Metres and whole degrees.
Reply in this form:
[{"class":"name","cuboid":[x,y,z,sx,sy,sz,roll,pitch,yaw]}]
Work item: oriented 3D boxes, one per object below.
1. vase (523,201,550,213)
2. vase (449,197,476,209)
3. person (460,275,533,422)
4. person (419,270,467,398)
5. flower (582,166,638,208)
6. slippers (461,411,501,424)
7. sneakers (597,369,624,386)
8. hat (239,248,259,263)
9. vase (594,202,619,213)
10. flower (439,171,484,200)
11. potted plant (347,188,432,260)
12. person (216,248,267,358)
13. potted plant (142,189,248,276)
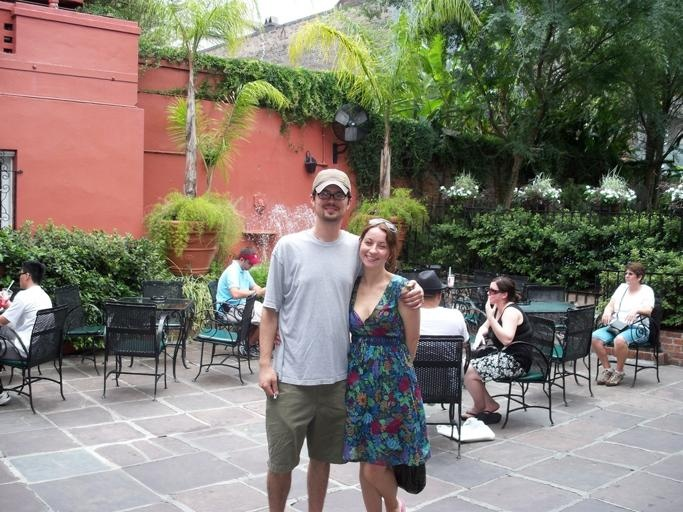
[{"class":"vase","cuboid":[4.236,-1.061,13.072,0.364,0.167,0.370,3,-3,9]},{"class":"vase","cuboid":[2.799,-1.219,13.935,0.385,0.226,0.391,2,-3,-3]},{"class":"person","cuboid":[1.734,1.035,6.712,0.725,1.578,0.666,2,7,8]},{"class":"person","cuboid":[0.967,0.820,5.938,0.473,1.324,0.492,3,7,10]},{"class":"flower","cuboid":[5.761,-1.360,12.986,0.873,0.644,1.172,6,8,36]},{"class":"slippers","cuboid":[1.507,1.770,6.577,0.407,0.109,0.165,2,0,-3]},{"class":"sneakers","cuboid":[3.595,1.656,8.148,0.333,0.135,0.199,3,-4,-43]},{"class":"hat","cuboid":[-1.299,0.013,8.571,0.237,0.155,0.181,7,4,25]},{"class":"vase","cuboid":[5.481,-0.998,12.539,0.336,0.127,0.337,0,-1,-29]},{"class":"flower","cuboid":[2.725,-1.533,14.414,1.113,0.839,1.146,3,10,25]},{"class":"potted plant","cuboid":[1.014,-0.706,14.132,1.604,1.646,1.603,2,-5,-32]},{"class":"person","cuboid":[-1.372,0.665,8.714,0.784,1.583,0.710,4,8,25]},{"class":"potted plant","cuboid":[-2.643,-0.404,10.996,1.514,1.427,1.042,-2,7,-25]}]
